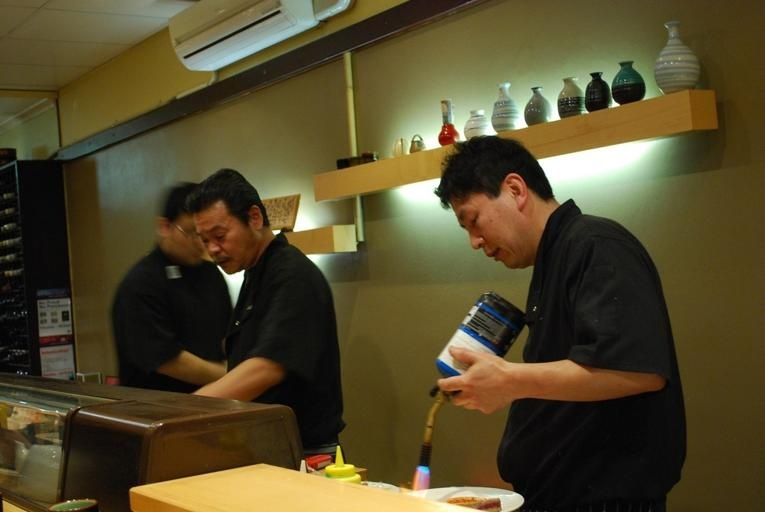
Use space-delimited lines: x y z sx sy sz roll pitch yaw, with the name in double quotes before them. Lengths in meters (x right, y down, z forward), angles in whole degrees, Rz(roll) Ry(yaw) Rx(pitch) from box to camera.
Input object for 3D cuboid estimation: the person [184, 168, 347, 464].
"person" -0.484 0.204 2.529 0.539 1.090 0.508 -5 -1 -17
